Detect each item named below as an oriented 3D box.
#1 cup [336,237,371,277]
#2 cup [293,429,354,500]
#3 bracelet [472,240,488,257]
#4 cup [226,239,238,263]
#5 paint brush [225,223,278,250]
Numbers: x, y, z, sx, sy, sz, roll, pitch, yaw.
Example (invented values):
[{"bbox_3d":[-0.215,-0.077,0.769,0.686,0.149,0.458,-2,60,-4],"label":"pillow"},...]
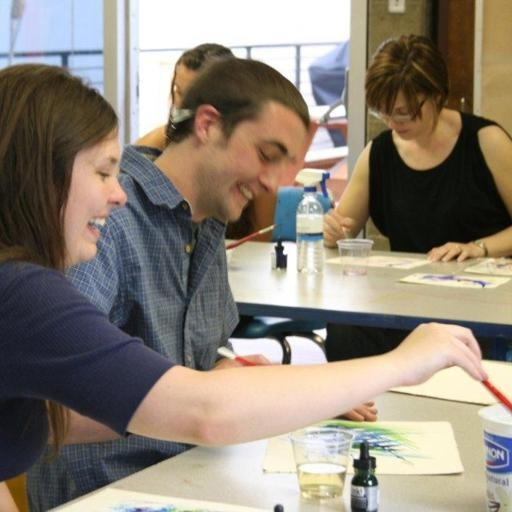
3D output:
[{"bbox_3d":[0.344,0.006,2.097,0.116,0.103,0.117,-1,4,0],"label":"cup"},{"bbox_3d":[0.084,0.265,0.756,0.079,0.062,0.075,0,-2,0],"label":"cup"},{"bbox_3d":[0.881,-0.032,2.325,0.060,0.063,0.039,-4,5,-44],"label":"bracelet"},{"bbox_3d":[-0.101,-0.015,2.305,0.068,0.082,0.083,1,6,4],"label":"cup"},{"bbox_3d":[-0.033,-0.107,3.111,0.284,0.038,0.038,-26,38,11],"label":"paint brush"}]
